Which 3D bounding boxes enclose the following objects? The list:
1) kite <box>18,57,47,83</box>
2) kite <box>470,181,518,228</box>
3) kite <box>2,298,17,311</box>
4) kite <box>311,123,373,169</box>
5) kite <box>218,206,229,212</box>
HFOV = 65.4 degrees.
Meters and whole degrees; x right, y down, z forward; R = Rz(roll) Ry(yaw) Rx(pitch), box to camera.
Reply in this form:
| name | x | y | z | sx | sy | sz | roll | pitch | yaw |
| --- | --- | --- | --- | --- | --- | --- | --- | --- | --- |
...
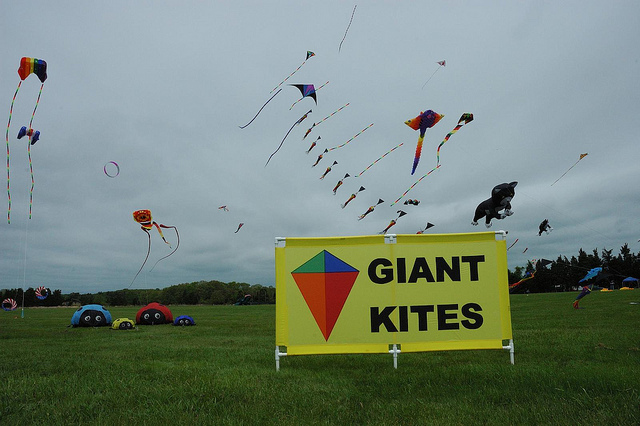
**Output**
| name | x | y | z | sx | sy | sz | roll | pitch | yaw |
| --- | --- | --- | --- | --- | --- | --- | --- | --- | --- |
| kite | -10.817 | -5.415 | 18.794 | 0.828 | 1.020 | 1.490 | 0 | -2 | -33 |
| kite | 5.996 | -0.130 | 17.409 | 0.738 | 1.251 | 1.978 | 10 | -22 | -31 |
| kite | -27.239 | 8.137 | 43.640 | 0.872 | 0.986 | 2.306 | 0 | -2 | -35 |
| kite | 0.332 | -1.920 | 23.235 | 3.687 | 2.267 | 1.378 | 0 | -3 | 1 |
| kite | -1.879 | -0.072 | 9.774 | 0.167 | 0.083 | 0.152 | 2 | -1 | 45 |
